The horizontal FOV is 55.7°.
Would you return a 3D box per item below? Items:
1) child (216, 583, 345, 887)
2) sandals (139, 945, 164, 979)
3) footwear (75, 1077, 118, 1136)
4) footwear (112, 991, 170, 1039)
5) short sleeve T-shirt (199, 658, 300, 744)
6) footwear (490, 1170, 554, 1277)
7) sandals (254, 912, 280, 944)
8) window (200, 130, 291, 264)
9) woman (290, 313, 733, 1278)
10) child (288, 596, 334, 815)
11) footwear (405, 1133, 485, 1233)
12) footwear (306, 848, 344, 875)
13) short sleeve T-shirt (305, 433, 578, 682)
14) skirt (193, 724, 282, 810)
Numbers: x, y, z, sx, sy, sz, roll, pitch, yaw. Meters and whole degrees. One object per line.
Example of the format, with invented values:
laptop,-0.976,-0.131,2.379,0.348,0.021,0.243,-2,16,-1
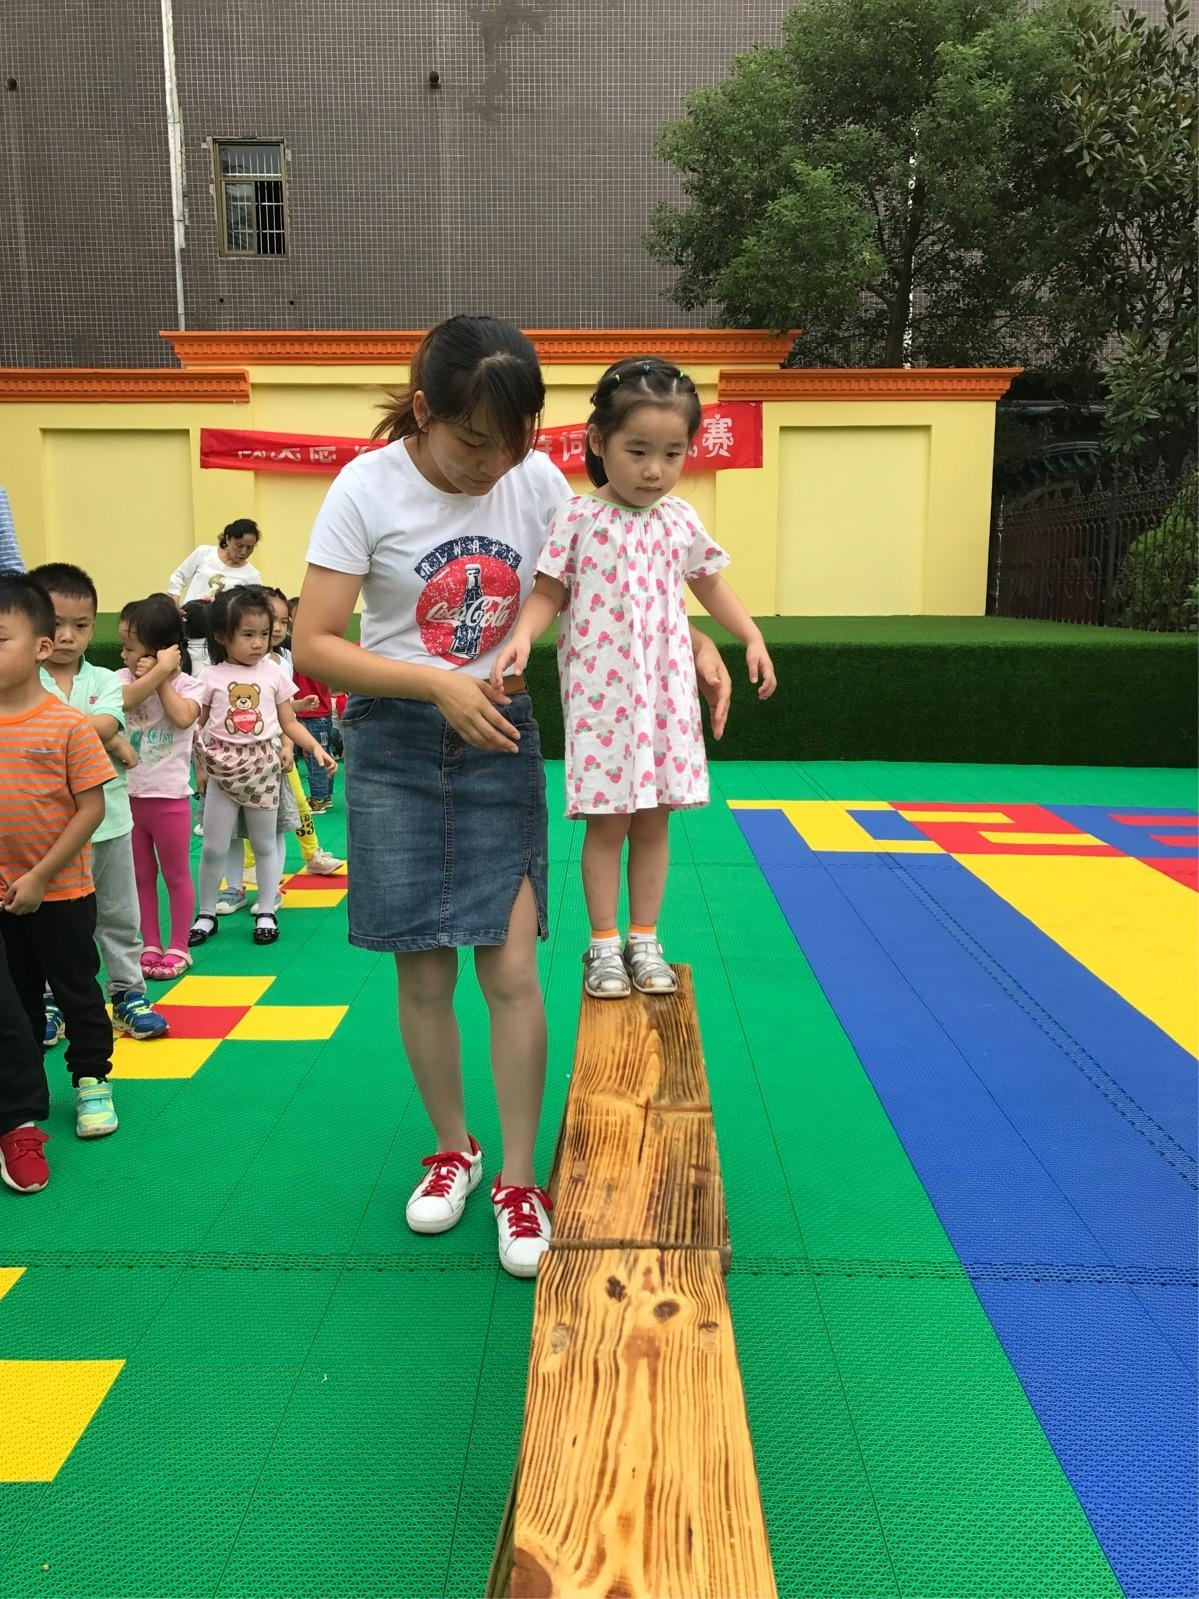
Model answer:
child,-1.486,-0.104,5.021,0.599,1.595,0.581,8,19,-15
sandals,-1.485,0.546,3.782,0.062,0.070,0.171,-1,-2,-11
footwear,-1.173,0.722,2.661,0.065,0.078,0.174,-1,3,-21
footwear,-1.307,0.605,3.286,0.209,0.106,0.087,11,19,33
short sleeve T-shirt,-1.278,-0.351,4.132,0.341,0.317,0.176,1,-6,-30
footwear,-0.138,0.776,2.135,0.104,0.098,0.258,-4,15,-10
sandals,-1.231,0.480,4.204,0.060,0.059,0.142,-2,6,-10
window,-4.648,-8.010,15.218,0.949,1.448,0.243,2,11,12
woman,-0.120,0.001,1.972,0.767,1.582,0.541,2,7,6
child,-1.443,-0.479,6.091,0.322,1.075,0.313,-4,9,-17
footwear,-0.312,0.763,2.268,0.084,0.084,0.217,2,11,6
footwear,-1.252,0.288,5.260,0.203,0.113,0.083,4,14,16
short sleeve T-shirt,-0.260,-0.406,1.962,0.464,0.392,0.246,-3,11,-14
skirt,-1.274,-0.104,4.099,0.329,0.301,0.242,1,8,3
